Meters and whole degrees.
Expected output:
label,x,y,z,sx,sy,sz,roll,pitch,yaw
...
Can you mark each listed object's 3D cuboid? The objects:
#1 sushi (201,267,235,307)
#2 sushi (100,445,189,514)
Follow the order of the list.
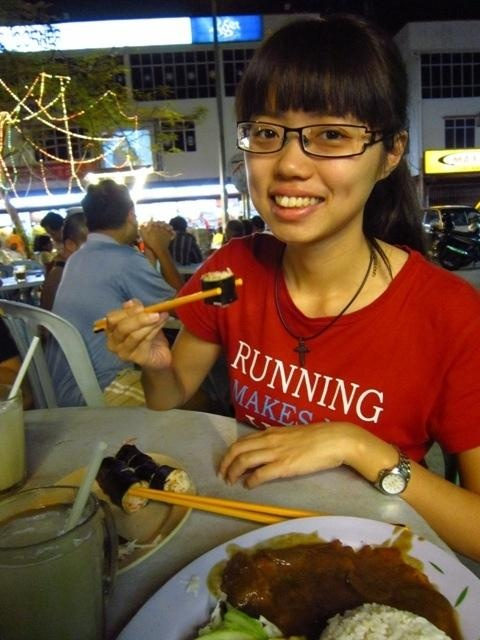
label,x,y,z,sx,sy,sz,roll,pitch,yaw
sushi,-0.053,-0.083,1.292,0.088,0.068,0.090,-5,3,3
sushi,-0.207,0.318,1.080,0.164,0.106,0.146,-2,2,-40
